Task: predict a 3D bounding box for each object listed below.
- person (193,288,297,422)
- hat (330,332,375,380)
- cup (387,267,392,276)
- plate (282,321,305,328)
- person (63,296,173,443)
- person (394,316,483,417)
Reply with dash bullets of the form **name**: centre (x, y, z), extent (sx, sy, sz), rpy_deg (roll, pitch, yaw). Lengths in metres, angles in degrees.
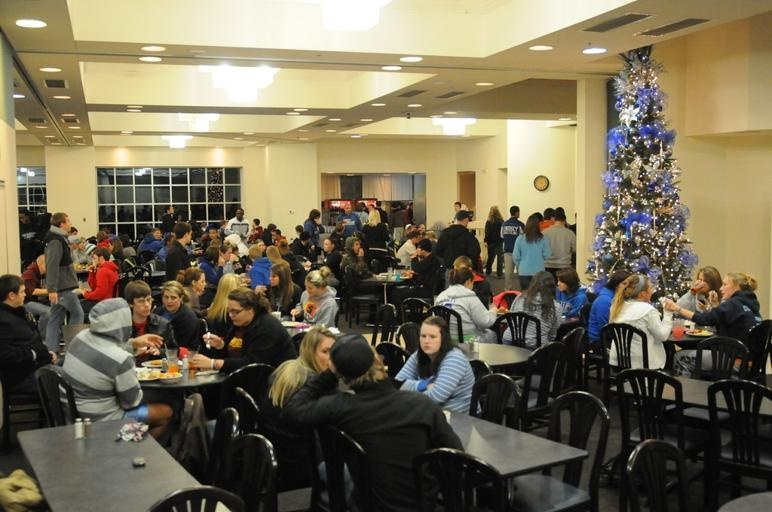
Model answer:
- **person**: centre (-1.233, 0.959, 5.732), extent (1.003, 0.607, 1.269), rpy_deg (3, 51, -7)
- **hat**: centre (-0.192, 0.590, 3.476), extent (0.218, 0.150, 0.274), rpy_deg (-20, 37, 0)
- **cup**: centre (0.094, 0.305, 11.461), extent (0.116, 0.171, 0.111), rpy_deg (-1, 2, 0)
- **plate**: centre (-1.054, 0.804, 6.954), extent (0.165, 0.032, 0.160), rpy_deg (-3, 6, -45)
- **person**: centre (-2.160, 0.962, 4.875), extent (0.590, 1.197, 0.775), rpy_deg (37, 39, 27)
- **person**: centre (0.400, 1.087, 4.844), extent (0.700, 1.083, 0.621), rpy_deg (2, 2, 10)
